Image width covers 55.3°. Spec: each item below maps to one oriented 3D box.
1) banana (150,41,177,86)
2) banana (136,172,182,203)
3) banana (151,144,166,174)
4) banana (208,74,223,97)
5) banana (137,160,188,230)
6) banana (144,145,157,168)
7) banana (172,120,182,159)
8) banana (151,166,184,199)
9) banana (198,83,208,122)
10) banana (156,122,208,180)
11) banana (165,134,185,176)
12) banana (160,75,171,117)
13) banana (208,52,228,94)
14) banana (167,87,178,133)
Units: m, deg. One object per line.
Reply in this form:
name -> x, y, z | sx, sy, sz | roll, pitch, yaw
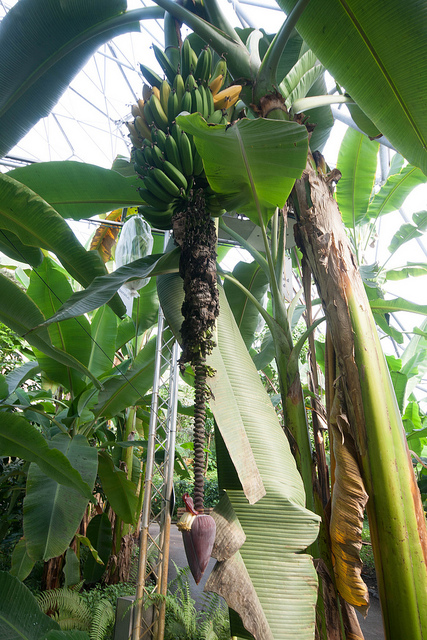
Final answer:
banana -> -0.221, -1.108, 1.738 | 0.045, 0.031, 0.162 | -27, -86, 27
banana -> -0.203, -0.475, 1.533 | 0.182, 0.080, 0.053 | 33, -32, -6
banana -> -0.203, -0.586, 1.466 | 0.034, 0.044, 0.128 | -14, -78, 2
banana -> 0.012, -0.943, 1.629 | 0.029, 0.038, 0.106 | 6, -44, 0
banana -> -0.179, -0.449, 1.527 | 0.168, 0.084, 0.234 | -12, -44, 15
banana -> -0.233, -0.607, 1.540 | 0.040, 0.034, 0.121 | 6, -65, 15
banana -> -0.131, -0.661, 1.495 | 0.033, 0.140, 0.054 | -5, 5, 13
banana -> -0.164, -0.496, 1.462 | 0.029, 0.046, 0.119 | -41, -65, 12
banana -> -0.036, -0.821, 1.539 | 0.033, 0.048, 0.139 | 4, -76, 37
banana -> -0.111, -0.573, 1.389 | 0.088, 0.075, 0.239 | 1, -57, 57
banana -> -0.144, -0.590, 1.479 | 0.035, 0.048, 0.145 | -21, -74, -12
banana -> -0.193, -0.877, 1.598 | 0.037, 0.153, 0.053 | -1, 2, 6
banana -> 0.031, -1.063, 1.756 | 0.057, 0.203, 0.084 | 11, -32, 4
banana -> -0.156, -0.797, 1.535 | 0.038, 0.179, 0.062 | 2, 6, 5
